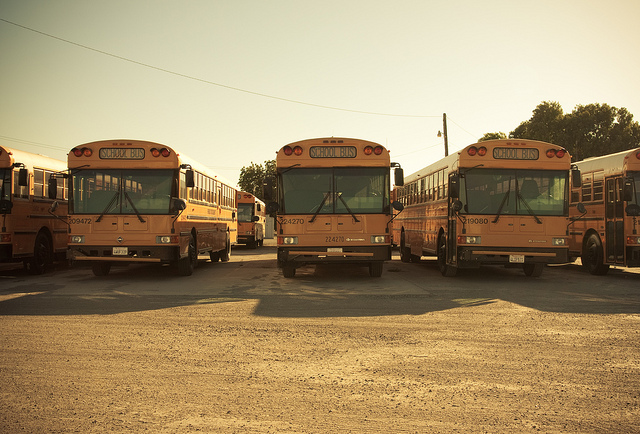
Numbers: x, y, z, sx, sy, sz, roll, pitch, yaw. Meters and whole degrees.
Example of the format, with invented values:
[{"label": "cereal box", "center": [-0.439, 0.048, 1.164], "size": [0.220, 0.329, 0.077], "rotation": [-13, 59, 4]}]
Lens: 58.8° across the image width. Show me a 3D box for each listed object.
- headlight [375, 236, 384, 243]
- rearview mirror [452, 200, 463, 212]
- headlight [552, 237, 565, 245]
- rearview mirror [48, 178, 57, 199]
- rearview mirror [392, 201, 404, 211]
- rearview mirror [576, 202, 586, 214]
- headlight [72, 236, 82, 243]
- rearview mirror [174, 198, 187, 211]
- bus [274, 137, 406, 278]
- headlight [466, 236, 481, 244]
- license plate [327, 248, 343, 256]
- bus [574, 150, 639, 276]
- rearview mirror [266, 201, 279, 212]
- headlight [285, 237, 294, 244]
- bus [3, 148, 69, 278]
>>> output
[{"label": "headlight", "center": [1.742, 0.654, 16.732], "size": [0.184, 0.189, 0.044], "rotation": [1, -5, -6]}, {"label": "rearview mirror", "center": [4.060, -0.326, 16.771], "size": [0.300, 0.353, 0.291], "rotation": [0, 2, 7]}, {"label": "headlight", "center": [6.973, 0.705, 16.667], "size": [0.351, 0.246, 0.194], "rotation": [1, -5, 2]}, {"label": "rearview mirror", "center": [-7.988, -0.875, 16.972], "size": [0.185, 0.582, 0.263], "rotation": [-1, 2, -38]}, {"label": "rearview mirror", "center": [2.319, -0.330, 17.122], "size": [0.282, 0.287, 0.612], "rotation": [0, 2, 4]}, {"label": "rearview mirror", "center": [8.565, -0.313, 18.674], "size": [0.267, 0.368, 0.098], "rotation": [-4, -12, -41]}, {"label": "headlight", "center": [-7.224, 0.654, 16.829], "size": [0.194, 0.201, 0.052], "rotation": [4, -5, -3]}, {"label": "rearview mirror", "center": [-4.225, -0.375, 17.222], "size": [0.160, 0.359, 0.630], "rotation": [0, 2, 9]}, {"label": "bus", "center": [0.630, -0.583, 20.211], "size": [3.903, 4.109, 7.221], "rotation": [0, 5, 1]}, {"label": "headlight", "center": [4.506, 0.675, 16.719], "size": [0.425, 0.219, 0.047], "rotation": [0, 2, 1]}, {"label": "license plate", "center": [0.433, 1.016, 16.592], "size": [0.437, 0.220, 0.070], "rotation": [0, 2, 1]}, {"label": "bus", "center": [9.642, -0.050, 19.092], "size": [0.602, 4.141, 3.290], "rotation": [0, 2, -2]}, {"label": "rearview mirror", "center": [-1.397, -0.310, 16.888], "size": [0.337, 0.318, 0.210], "rotation": [0, 2, -4]}, {"label": "headlight", "center": [-0.907, 0.689, 16.702], "size": [0.182, 0.172, 0.046], "rotation": [4, 0, 1]}, {"label": "bus", "center": [-9.581, -0.101, 18.976], "size": [0.620, 4.200, 3.429], "rotation": [0, 2, 4]}]
